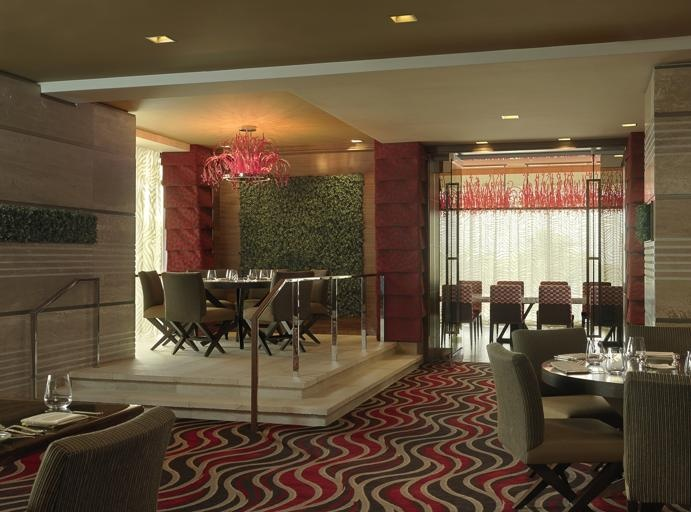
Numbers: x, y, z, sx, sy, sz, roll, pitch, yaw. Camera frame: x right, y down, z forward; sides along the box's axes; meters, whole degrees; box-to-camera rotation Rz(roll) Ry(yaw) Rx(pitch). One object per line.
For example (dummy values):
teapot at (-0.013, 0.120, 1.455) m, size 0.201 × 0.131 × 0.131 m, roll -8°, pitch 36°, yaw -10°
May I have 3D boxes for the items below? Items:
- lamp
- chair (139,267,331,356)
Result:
lamp at (-1.580, -1.521, 8.437) m, size 1.366 × 0.557 × 1.150 m, roll -1°, pitch 4°, yaw -13°
chair at (-1.900, 0.742, 7.713) m, size 1.446 × 1.064 × 2.122 m, roll 0°, pitch 1°, yaw 31°
